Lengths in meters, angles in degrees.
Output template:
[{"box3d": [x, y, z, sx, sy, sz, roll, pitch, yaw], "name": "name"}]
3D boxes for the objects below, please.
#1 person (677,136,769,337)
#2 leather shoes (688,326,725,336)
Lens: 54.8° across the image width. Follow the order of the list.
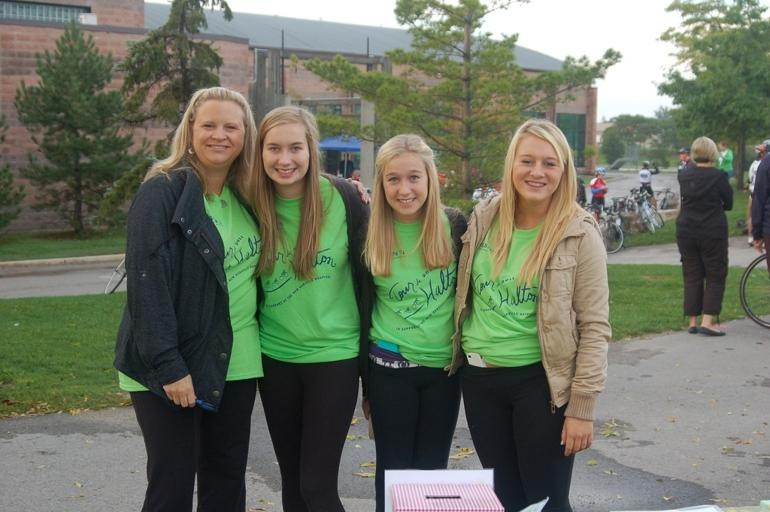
[{"box3d": [4.482, -0.272, 10.585, 0.699, 2.794, 0.322, 3, 5, 28], "name": "person"}, {"box3d": [4.515, 1.085, 10.568, 0.195, 0.090, 0.339, 10, -9, -37], "name": "leather shoes"}]
